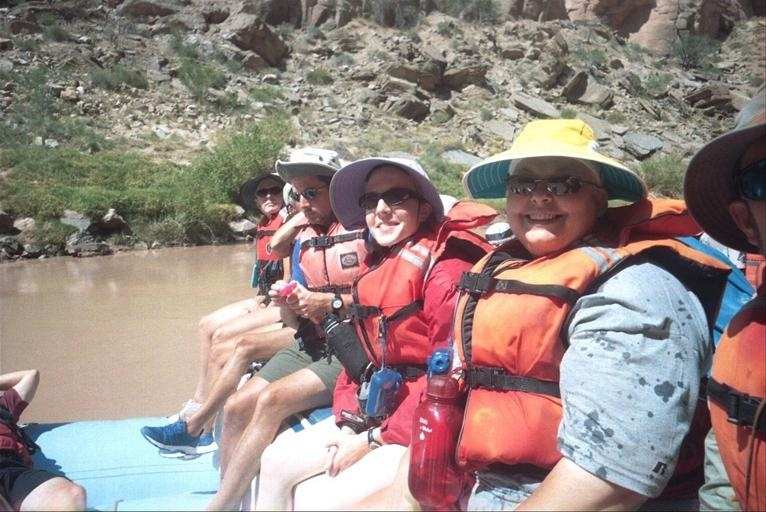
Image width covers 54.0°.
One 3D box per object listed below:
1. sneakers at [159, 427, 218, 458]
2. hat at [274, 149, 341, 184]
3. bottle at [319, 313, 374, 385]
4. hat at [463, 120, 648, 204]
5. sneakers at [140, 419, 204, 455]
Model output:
[{"bbox_3d":[-1.278,1.283,5.082,0.441,0.172,0.147,11,-14,-41],"label":"sneakers"},{"bbox_3d":[-0.441,-0.572,4.765,0.294,0.116,0.259,5,-9,-36],"label":"hat"},{"bbox_3d":[-0.197,0.530,4.240,0.203,0.190,0.410,-20,60,-36],"label":"bottle"},{"bbox_3d":[0.878,-0.481,3.713,0.568,0.204,0.569,3,-13,5],"label":"hat"},{"bbox_3d":[-1.412,1.221,5.012,0.453,0.213,0.158,19,18,-42],"label":"sneakers"}]
